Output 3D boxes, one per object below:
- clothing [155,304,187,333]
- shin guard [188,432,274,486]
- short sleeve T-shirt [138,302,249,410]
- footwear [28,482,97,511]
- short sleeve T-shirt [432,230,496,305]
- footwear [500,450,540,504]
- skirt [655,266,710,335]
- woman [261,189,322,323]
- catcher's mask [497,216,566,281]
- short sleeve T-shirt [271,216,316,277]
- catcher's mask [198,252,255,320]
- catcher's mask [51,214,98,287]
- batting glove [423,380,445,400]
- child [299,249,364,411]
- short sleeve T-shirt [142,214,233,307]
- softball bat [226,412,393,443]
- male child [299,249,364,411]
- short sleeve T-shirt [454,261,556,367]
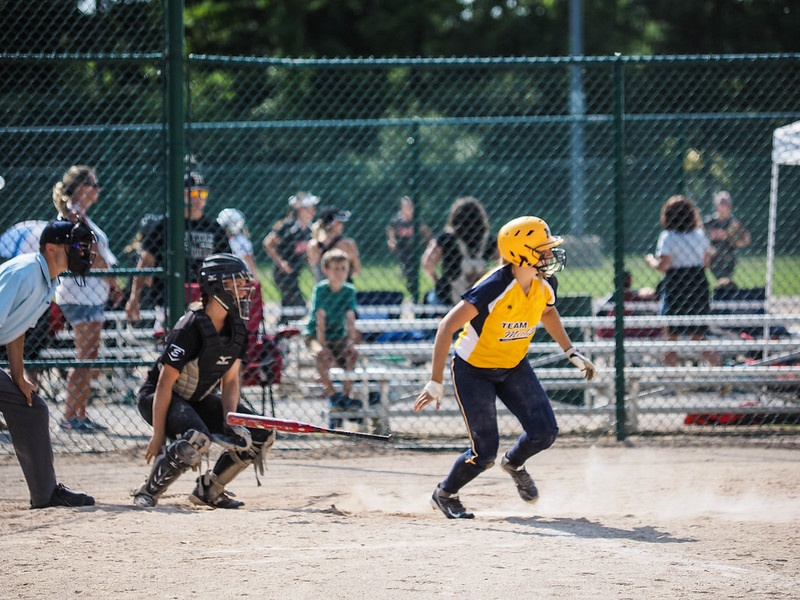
[{"bbox_3d":[-1.997,0.167,12.743,0.241,0.404,0.226,-4,9,-41],"label":"clothing"},{"bbox_3d":[-1.356,1.258,11.826,0.527,0.463,0.443,18,-18,-3],"label":"shin guard"},{"bbox_3d":[-1.659,0.482,11.933,0.417,0.766,0.811,38,8,30],"label":"short sleeve T-shirt"},{"bbox_3d":[-2.666,1.597,11.665,0.598,0.226,0.199,-1,-3,-9],"label":"footwear"},{"bbox_3d":[0.639,-0.321,13.787,0.553,0.679,0.378,25,2,-7],"label":"short sleeve T-shirt"},{"bbox_3d":[0.937,1.496,11.936,0.183,0.538,0.247,-35,12,-25],"label":"footwear"},{"bbox_3d":[2.810,-0.095,14.204,0.469,0.472,0.589,-1,0,10],"label":"skirt"},{"bbox_3d":[-1.128,-0.511,15.278,0.593,1.628,0.646,17,36,17],"label":"woman"},{"bbox_3d":[1.053,-0.420,11.560,0.533,0.427,0.427,-2,13,2],"label":"catcher's mask"},{"bbox_3d":[-1.090,-0.565,15.041,0.299,0.959,0.362,26,33,34],"label":"short sleeve T-shirt"},{"bbox_3d":[-1.384,-0.120,11.561,0.515,0.530,0.405,1,-2,-7],"label":"catcher's mask"},{"bbox_3d":[-2.499,-0.399,11.565,0.485,0.493,0.403,-8,-2,10],"label":"catcher's mask"},{"bbox_3d":[0.310,0.741,11.681,0.164,0.123,0.156,32,-8,-14],"label":"batting glove"},{"bbox_3d":[-0.631,0.264,13.705,0.494,1.487,0.441,-1,1,-3],"label":"child"},{"bbox_3d":[-1.852,-0.367,12.736,0.892,0.945,0.512,2,-3,-22],"label":"short sleeve T-shirt"},{"bbox_3d":[-0.750,1.125,12.612,1.413,0.117,0.182,9,6,-13],"label":"softball bat"},{"bbox_3d":[-0.631,0.264,13.707,0.494,1.487,0.436,-1,1,-3],"label":"male child"},{"bbox_3d":[0.883,0.128,11.894,0.880,0.813,0.473,9,24,-45],"label":"short sleeve T-shirt"}]
